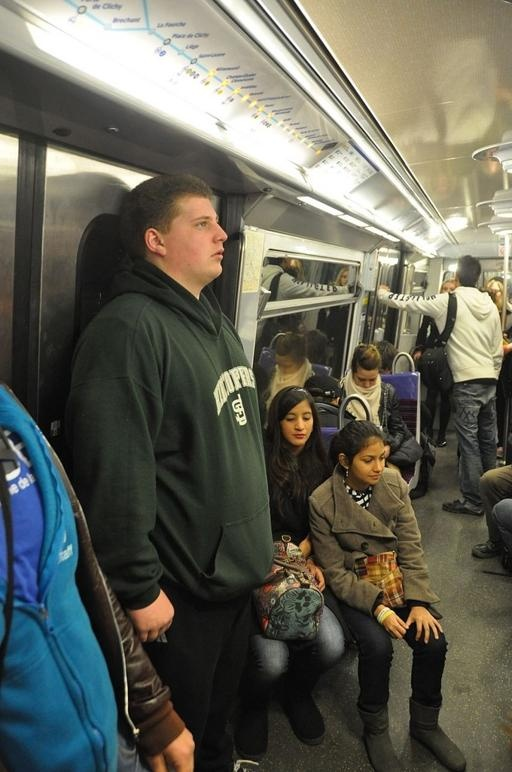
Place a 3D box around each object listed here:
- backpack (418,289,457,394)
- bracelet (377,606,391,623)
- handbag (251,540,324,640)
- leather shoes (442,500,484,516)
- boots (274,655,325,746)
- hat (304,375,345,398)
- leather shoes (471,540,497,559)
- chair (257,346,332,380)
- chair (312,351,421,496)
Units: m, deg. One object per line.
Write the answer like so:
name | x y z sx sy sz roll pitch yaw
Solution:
backpack | 2.010 -0.467 5.714 0.447 1.053 0.372 -10 -2 3
bracelet | 0.511 0.893 2.078 0.048 0.056 0.052 6 24 29
handbag | 0.055 0.744 1.950 0.236 0.369 0.367 7 -6 -3
leather shoes | 1.785 1.035 4.540 0.285 0.131 0.126 -1 8 21
boots | 0.193 1.197 2.115 0.173 0.325 0.317 3 12 -3
hat | 0.536 0.002 4.106 0.251 0.141 0.177 14 -6 -18
leather shoes | 1.600 1.136 3.714 0.166 0.115 0.089 8 0 5
chair | 0.165 -0.158 3.289 0.243 0.129 0.344 14 6 22
chair | 0.914 0.149 4.214 0.940 1.194 0.999 -2 42 4
